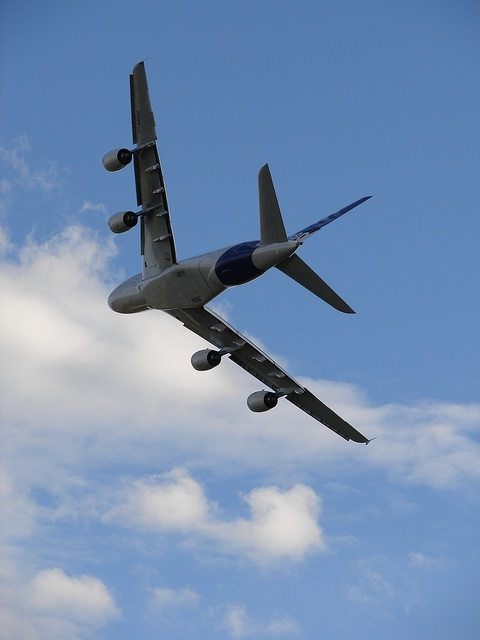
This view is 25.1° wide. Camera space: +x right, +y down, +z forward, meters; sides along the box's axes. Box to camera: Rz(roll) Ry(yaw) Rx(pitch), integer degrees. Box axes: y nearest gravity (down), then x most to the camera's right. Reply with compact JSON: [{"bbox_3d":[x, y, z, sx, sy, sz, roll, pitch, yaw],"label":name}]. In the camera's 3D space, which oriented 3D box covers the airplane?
[{"bbox_3d":[-0.715,-2.123,28.430,6.089,8.135,8.393,3,-17,3],"label":"airplane"}]
